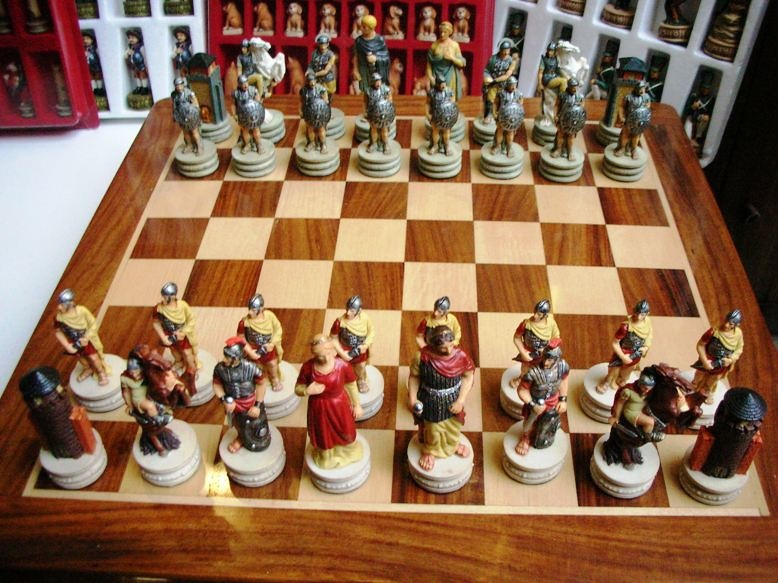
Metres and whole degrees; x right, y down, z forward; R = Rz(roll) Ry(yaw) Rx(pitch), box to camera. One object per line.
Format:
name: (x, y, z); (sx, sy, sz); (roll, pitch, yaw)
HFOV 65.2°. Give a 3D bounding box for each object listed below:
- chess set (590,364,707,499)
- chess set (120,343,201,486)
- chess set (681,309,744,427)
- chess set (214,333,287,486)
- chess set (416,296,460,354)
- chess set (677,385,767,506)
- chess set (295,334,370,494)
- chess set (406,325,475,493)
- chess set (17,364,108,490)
chess set: (1.581, 0.819, 3.789); (0.445, 1.058, 0.451); (11, 38, 17)
chess set: (-1.428, 0.775, 3.863); (0.407, 0.978, 0.411); (-16, 35, -32)
chess set: (2.265, 0.489, 4.197); (0.278, 0.817, 0.216); (12, 39, 22)
chess set: (-0.876, 0.743, 3.772); (0.429, 0.912, 0.415); (5, 36, 4)
chess set: (0.352, 0.282, 4.139); (0.294, 0.491, 0.274); (-2, 31, -9)
chess set: (2.066, 0.958, 3.716); (0.352, 0.710, 0.338); (-20, 42, -28)
chess set: (-0.325, 0.738, 3.758); (0.430, 1.074, 0.445); (-9, 31, -16)
chess set: (0.342, 0.726, 3.721); (0.441, 1.000, 0.441); (4, 36, 2)
chess set: (-2.060, 0.826, 3.830); (0.370, 0.896, 0.402); (8, 38, 10)
